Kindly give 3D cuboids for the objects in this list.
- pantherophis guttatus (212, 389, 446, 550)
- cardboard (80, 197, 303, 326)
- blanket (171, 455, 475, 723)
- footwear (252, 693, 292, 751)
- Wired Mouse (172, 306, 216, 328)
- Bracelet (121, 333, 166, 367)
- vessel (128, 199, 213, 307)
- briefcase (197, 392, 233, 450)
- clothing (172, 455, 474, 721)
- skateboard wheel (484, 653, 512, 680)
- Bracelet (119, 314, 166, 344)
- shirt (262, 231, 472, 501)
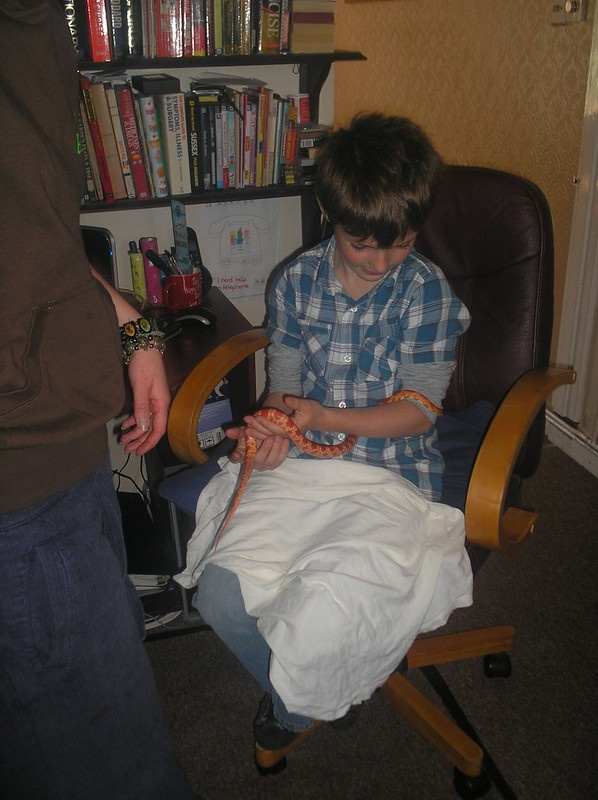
[{"bbox_3d":[0.026,0.099,1.257,0.605,0.029,0.193,-20,51,-19],"label":"pantherophis guttatus"},{"bbox_3d":[-0.324,-0.550,2.280,0.678,0.024,0.413,-3,78,9],"label":"cardboard"},{"bbox_3d":[0.026,0.270,1.096,0.430,0.168,0.507,-32,52,-23],"label":"blanket"},{"bbox_3d":[-0.059,0.686,1.346,0.107,0.137,0.130,-1,64,-5],"label":"footwear"},{"bbox_3d":[-0.301,-0.239,1.748,0.098,0.031,0.059,8,28,11],"label":"Wired Mouse"},{"bbox_3d":[-0.252,-0.081,0.983,0.045,0.028,0.058,-9,15,-12],"label":"Bracelet"},{"bbox_3d":[-0.330,-0.469,1.947,0.225,0.318,0.324,-7,29,3],"label":"vessel"},{"bbox_3d":[-0.258,0.062,1.883,0.040,0.148,0.165,20,20,29],"label":"briefcase"},{"bbox_3d":[0.022,0.255,1.087,0.430,0.172,0.507,-34,54,-22],"label":"clothing"},{"bbox_3d":[0.486,0.646,1.517,0.060,0.063,0.069,-4,72,27],"label":"skateboard wheel"},{"bbox_3d":[-0.247,-0.103,0.965,0.045,0.017,0.047,-13,6,45],"label":"Bracelet"},{"bbox_3d":[0.139,-0.060,1.267,0.449,0.541,0.289,8,36,17],"label":"shirt"}]
